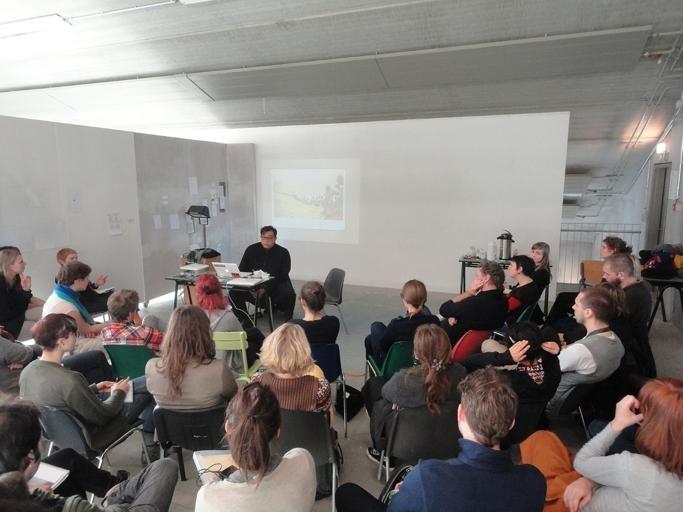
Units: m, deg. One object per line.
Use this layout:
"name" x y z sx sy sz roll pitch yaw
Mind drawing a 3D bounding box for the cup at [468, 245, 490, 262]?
"cup" 2.122 -0.019 7.355 0.243 0.157 0.247 -1 10 0

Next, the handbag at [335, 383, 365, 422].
"handbag" 0.073 1.318 4.253 0.255 0.234 0.547 2 6 0

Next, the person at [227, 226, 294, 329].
"person" -1.082 0.250 6.685 0.922 1.361 0.775 2 7 11

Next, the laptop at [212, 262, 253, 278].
"laptop" -1.384 0.144 5.896 0.304 0.195 0.213 5 29 11
